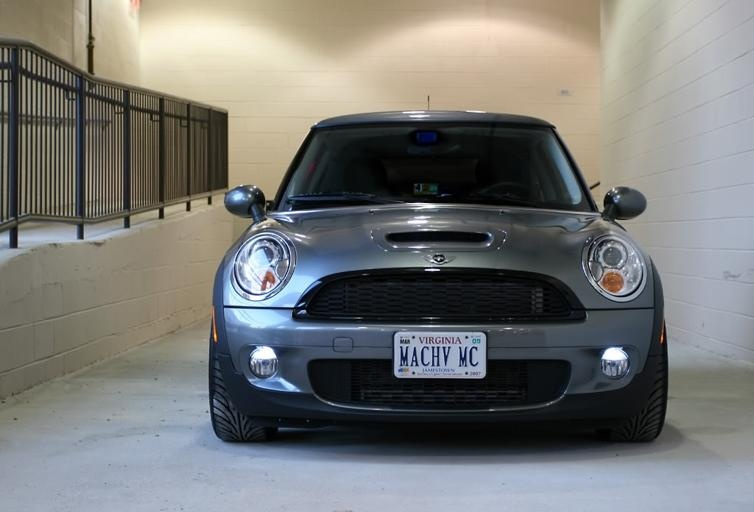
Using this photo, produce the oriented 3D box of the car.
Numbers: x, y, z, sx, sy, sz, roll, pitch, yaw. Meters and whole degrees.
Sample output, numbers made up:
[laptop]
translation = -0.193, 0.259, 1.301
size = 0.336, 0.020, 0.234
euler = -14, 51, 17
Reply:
[car]
translation = 0.380, 0.003, 4.103
size = 2.254, 1.775, 3.730
euler = -1, 6, 7
